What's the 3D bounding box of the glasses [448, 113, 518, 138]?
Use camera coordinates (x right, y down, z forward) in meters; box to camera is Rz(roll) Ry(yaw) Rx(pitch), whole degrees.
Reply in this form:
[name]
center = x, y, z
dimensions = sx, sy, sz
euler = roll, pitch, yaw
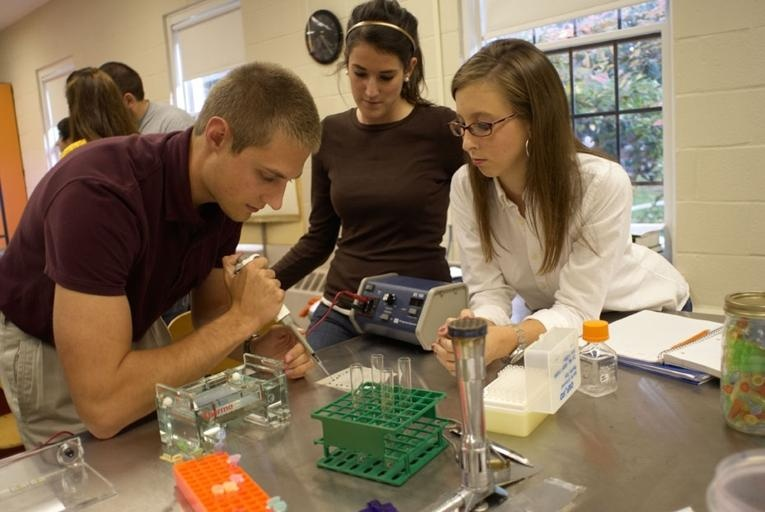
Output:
[glasses]
center = 0.331, -0.460, 1.827
dimensions = 0.125, 0.039, 0.123
euler = -33, 30, -30
